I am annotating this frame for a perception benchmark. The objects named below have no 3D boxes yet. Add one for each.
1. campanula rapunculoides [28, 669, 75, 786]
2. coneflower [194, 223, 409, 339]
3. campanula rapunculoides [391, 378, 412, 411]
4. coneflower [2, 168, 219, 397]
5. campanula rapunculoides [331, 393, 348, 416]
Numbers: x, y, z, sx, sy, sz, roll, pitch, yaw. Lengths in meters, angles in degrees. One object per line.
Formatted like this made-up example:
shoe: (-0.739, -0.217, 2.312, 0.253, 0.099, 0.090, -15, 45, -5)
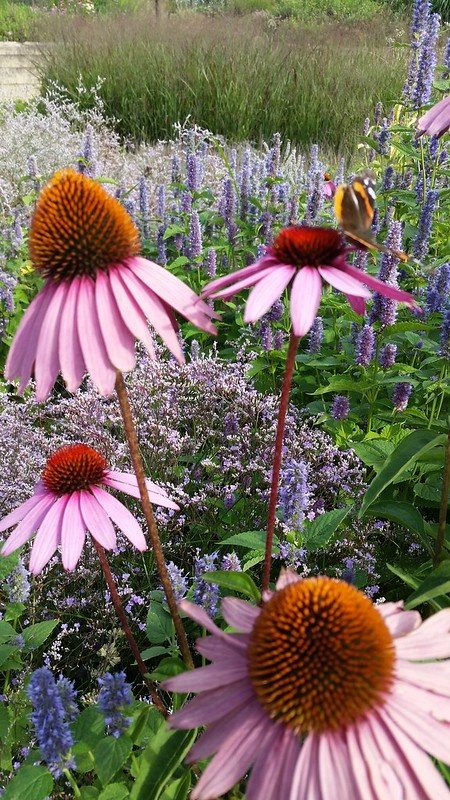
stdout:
campanula rapunculoides: (-0.349, 0.659, 1.257, 0.076, 0.296, 0.043, -6, 25, -19)
coneflower: (0.146, -0.234, 1.176, 0.285, 0.111, 0.295, -2, 27, -3)
campanula rapunculoides: (0.767, -0.016, 2.714, 0.063, 0.183, 0.104, 9, 24, 13)
coneflower: (-0.217, -0.197, 1.320, 0.411, 0.348, 0.462, -15, 24, 10)
campanula rapunculoides: (0.527, 0.029, 2.828, 0.063, 0.116, 0.111, 10, 25, 16)
